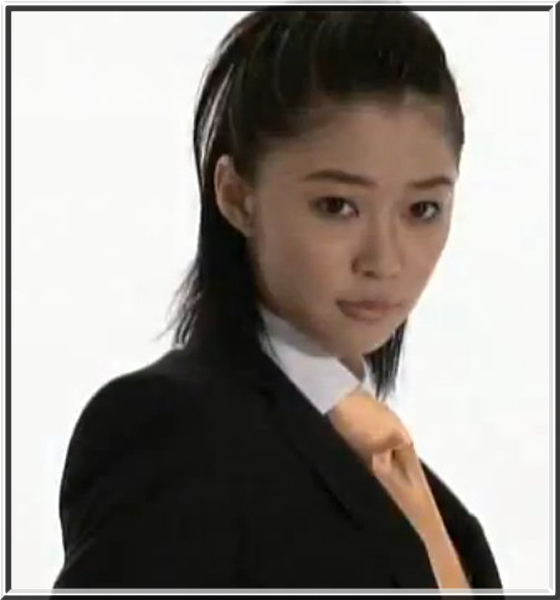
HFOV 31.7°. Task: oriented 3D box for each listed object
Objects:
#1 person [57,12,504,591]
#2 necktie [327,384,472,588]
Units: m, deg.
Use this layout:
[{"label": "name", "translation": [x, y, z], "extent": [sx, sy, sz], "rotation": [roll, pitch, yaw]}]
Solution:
[{"label": "person", "translation": [0.013, 0.043, 1.516], "extent": [0.781, 0.883, 0.456], "rotation": [8, -17, -33]}, {"label": "necktie", "translation": [0.207, 0.314, 1.649], "extent": [0.094, 0.337, 0.282], "rotation": [-22, -31, 27]}]
